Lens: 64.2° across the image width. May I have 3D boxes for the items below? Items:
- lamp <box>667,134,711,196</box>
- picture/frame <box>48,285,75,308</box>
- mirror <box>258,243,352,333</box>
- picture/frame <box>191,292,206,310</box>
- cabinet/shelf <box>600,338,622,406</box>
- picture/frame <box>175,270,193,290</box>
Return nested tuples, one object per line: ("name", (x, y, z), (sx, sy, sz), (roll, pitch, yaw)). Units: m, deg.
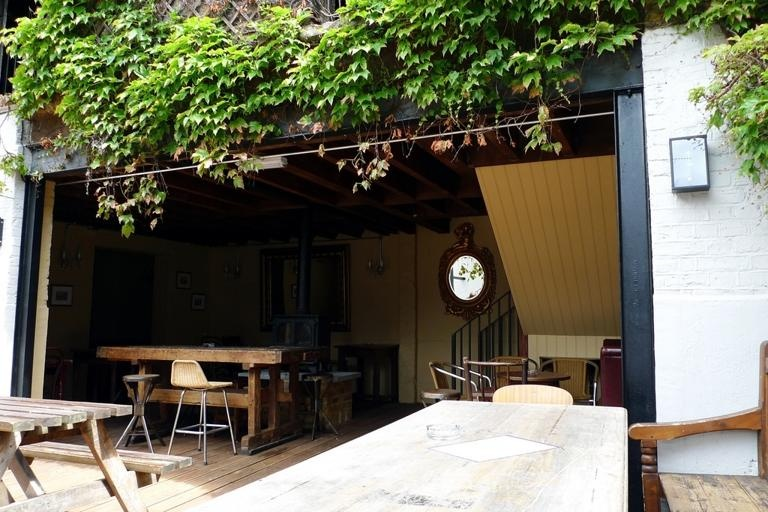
("lamp", (2.218, -0.656, 4.478), (0.265, 0.410, 0.107), (-2, -1, 17))
("picture/frame", (-4.745, 0.589, 9.012), (0.028, 0.317, 0.360), (-1, -6, 22))
("mirror", (-1.404, 0.621, 10.873), (1.622, 1.533, 0.117), (-2, -2, 12))
("picture/frame", (-3.410, 0.829, 11.245), (0.027, 0.291, 0.331), (-7, -3, 24))
("cabinet/shelf", (2.210, 1.173, 6.002), (0.225, 0.457, 0.199), (-7, -5, 25))
("picture/frame", (-3.585, 0.431, 10.981), (0.025, 0.283, 0.323), (-2, -6, 23))
